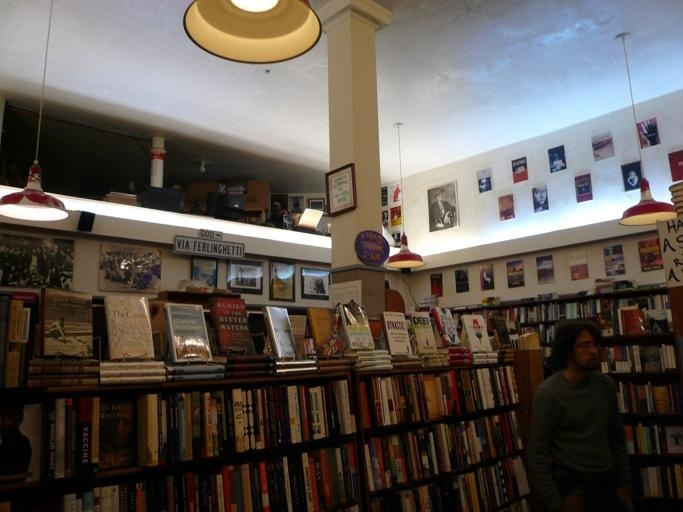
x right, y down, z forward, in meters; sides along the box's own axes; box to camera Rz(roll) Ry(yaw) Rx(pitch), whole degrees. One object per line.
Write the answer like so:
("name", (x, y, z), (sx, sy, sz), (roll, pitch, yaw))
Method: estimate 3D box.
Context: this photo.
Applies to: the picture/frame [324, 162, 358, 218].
("picture/frame", (0.006, -0.785, 6.127), (0.047, 0.684, 0.532), (12, -19, -38))
